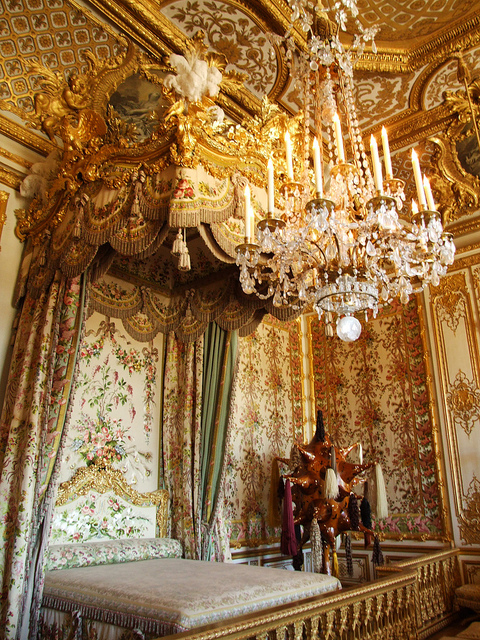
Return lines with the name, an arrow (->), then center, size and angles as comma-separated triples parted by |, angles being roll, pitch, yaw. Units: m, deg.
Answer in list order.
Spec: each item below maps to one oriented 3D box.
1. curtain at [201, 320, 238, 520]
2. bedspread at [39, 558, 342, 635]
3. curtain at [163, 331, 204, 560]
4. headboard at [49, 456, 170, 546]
curtain -> -0.182, 0.662, 3.774 | 0.221, 1.653, 0.196 | 6, -8, -36
bedspread -> -0.306, 1.401, 2.490 | 1.257, 0.199, 1.066 | -21, -31, 39
curtain -> -0.456, 0.918, 3.864 | 0.272, 2.018, 0.250 | 9, -13, -42
headboard -> -0.992, 1.332, 3.475 | 0.994, 0.612, 0.020 | -1, 8, 6
